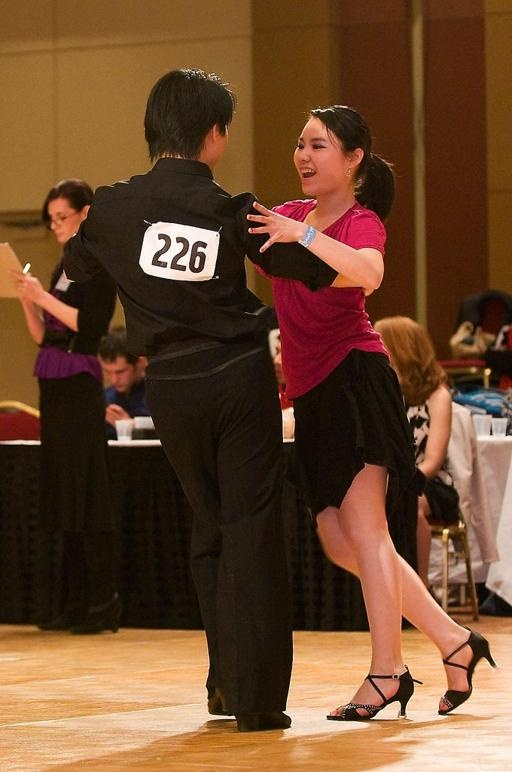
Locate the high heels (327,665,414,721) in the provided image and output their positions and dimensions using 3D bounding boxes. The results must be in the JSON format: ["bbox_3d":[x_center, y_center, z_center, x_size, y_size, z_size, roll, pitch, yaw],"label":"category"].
[{"bbox_3d":[0.234,0.600,1.631,0.199,0.104,0.071,2,-10,-13],"label":"high heels"}]

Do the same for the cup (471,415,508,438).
[{"bbox_3d":[1.159,0.206,4.114,0.172,0.118,0.139,3,-6,-19],"label":"cup"}]

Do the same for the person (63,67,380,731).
[{"bbox_3d":[-0.093,0.037,1.507,0.490,1.150,0.260,-3,0,37],"label":"person"}]

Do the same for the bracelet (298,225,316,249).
[{"bbox_3d":[0.086,-0.249,1.382,0.015,0.034,0.029,20,-1,11],"label":"bracelet"}]
